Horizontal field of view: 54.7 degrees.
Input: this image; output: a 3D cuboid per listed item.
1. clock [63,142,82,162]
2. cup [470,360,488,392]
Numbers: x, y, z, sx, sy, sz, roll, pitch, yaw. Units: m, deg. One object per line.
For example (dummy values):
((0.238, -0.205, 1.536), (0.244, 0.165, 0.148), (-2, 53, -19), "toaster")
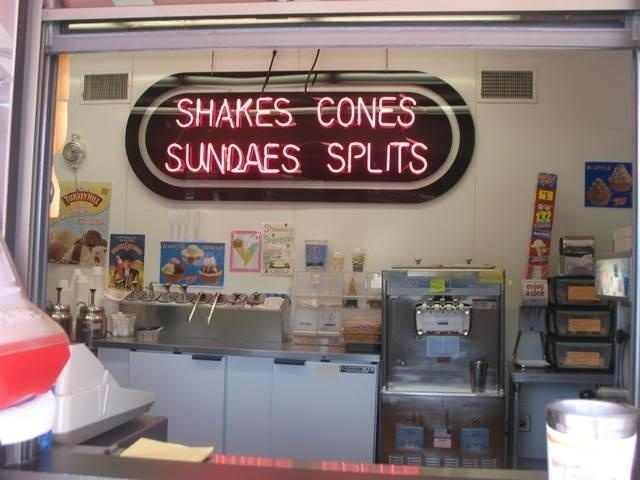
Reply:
((-2.332, -0.833, 5.854), (0.152, 0.201, 0.071), (-3, 1, 6), "clock")
((1.145, 0.989, 4.467), (0.114, 0.216, 0.060), (0, -2, 4), "cup")
